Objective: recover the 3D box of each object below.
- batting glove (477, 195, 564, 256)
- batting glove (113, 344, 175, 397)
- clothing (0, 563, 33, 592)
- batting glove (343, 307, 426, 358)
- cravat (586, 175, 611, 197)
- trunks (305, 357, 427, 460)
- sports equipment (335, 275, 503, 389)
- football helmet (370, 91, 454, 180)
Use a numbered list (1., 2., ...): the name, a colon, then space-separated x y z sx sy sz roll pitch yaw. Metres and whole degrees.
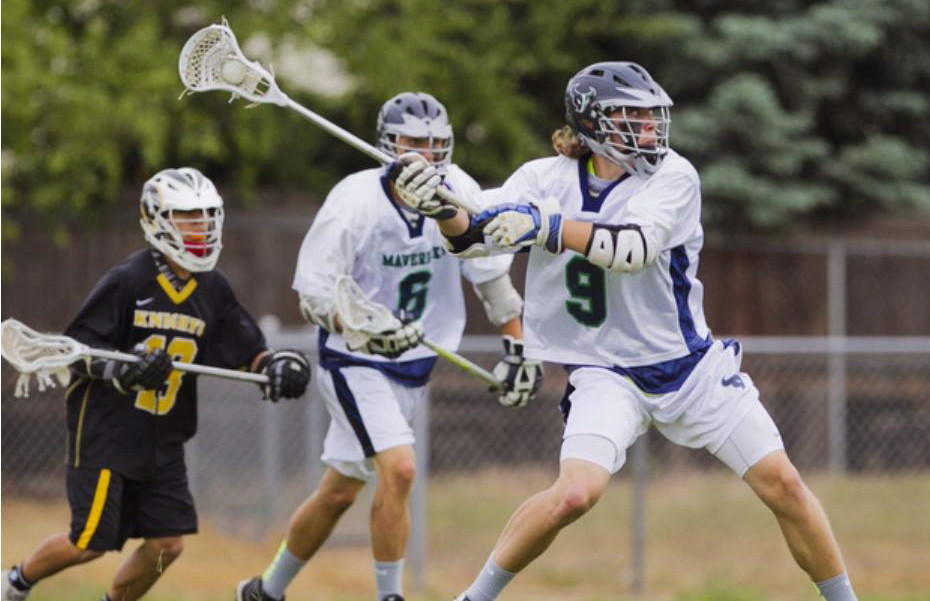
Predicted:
1. batting glove: 0.343 -0.468 8.232 0.534 0.336 0.148 0 9 1
2. batting glove: -2.046 0.455 8.425 0.375 0.339 0.261 2 9 10
3. clothing: -2.972 1.841 8.699 0.155 0.159 0.183 10 6 -14
4. batting glove: -0.595 0.172 8.531 0.510 0.245 0.308 2 28 -3
5. cravat: 0.848 -0.740 8.524 0.135 0.102 0.132 1 4 1
6. trunks: -0.664 0.729 8.976 0.583 0.614 0.835 -15 -5 -5
7. sports equipment: -0.151 0.338 8.757 0.972 0.363 0.255 29 55 27
8. football helmet: -0.326 -1.145 8.788 0.451 0.514 0.531 -2 6 -27
